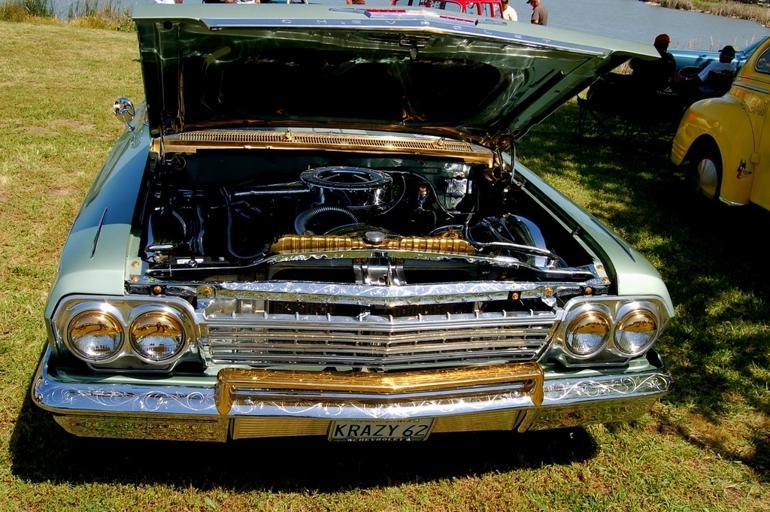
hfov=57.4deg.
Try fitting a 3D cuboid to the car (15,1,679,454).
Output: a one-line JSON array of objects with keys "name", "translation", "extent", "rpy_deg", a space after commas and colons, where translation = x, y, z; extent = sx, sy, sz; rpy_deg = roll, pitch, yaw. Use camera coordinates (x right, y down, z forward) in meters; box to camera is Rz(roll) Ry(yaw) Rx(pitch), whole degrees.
[{"name": "car", "translation": [-0.194, -0.302, 4.439], "extent": [3.438, 2.403, 1.987], "rpy_deg": [6, 27, -7]}]

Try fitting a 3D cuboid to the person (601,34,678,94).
[{"name": "person", "translation": [3.479, -2.582, 9.371], "extent": [0.469, 0.711, 0.993], "rpy_deg": [1, 18, -7]}]
